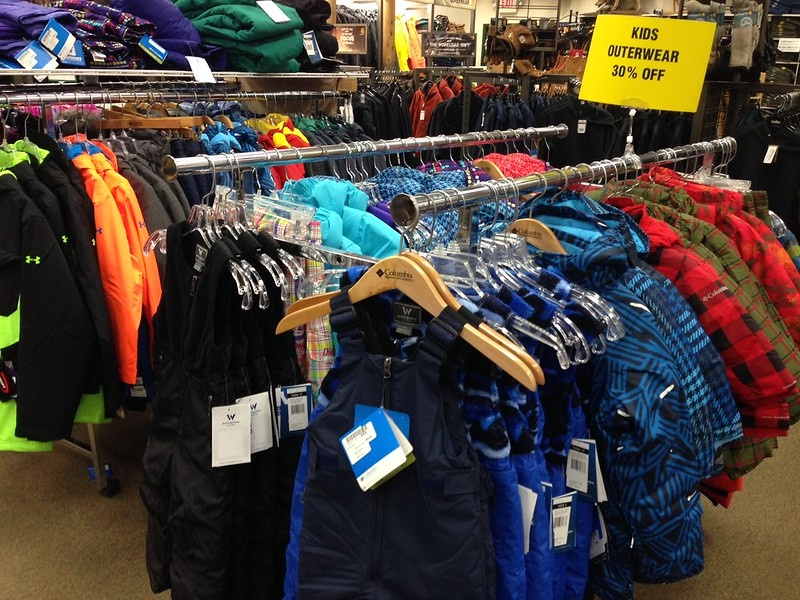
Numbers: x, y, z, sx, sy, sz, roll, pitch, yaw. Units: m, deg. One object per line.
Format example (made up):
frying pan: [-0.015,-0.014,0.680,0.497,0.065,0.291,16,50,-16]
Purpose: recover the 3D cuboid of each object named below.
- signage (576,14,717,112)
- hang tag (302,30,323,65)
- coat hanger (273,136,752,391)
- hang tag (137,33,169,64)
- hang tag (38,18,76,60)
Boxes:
signage: [0.836,-0.812,1.984,0.394,0.298,0.153,10,26,22]
hang tag: [-0.580,-1.668,3.824,0.045,0.183,0.179,-15,15,10]
coat hanger: [0.412,-0.154,1.633,0.584,0.316,1.147,10,18,43]
hang tag: [-1.376,-1.404,3.233,0.166,0.038,0.159,46,30,-5]
hang tag: [-1.727,-1.329,2.917,0.166,0.032,0.169,-32,21,-29]
